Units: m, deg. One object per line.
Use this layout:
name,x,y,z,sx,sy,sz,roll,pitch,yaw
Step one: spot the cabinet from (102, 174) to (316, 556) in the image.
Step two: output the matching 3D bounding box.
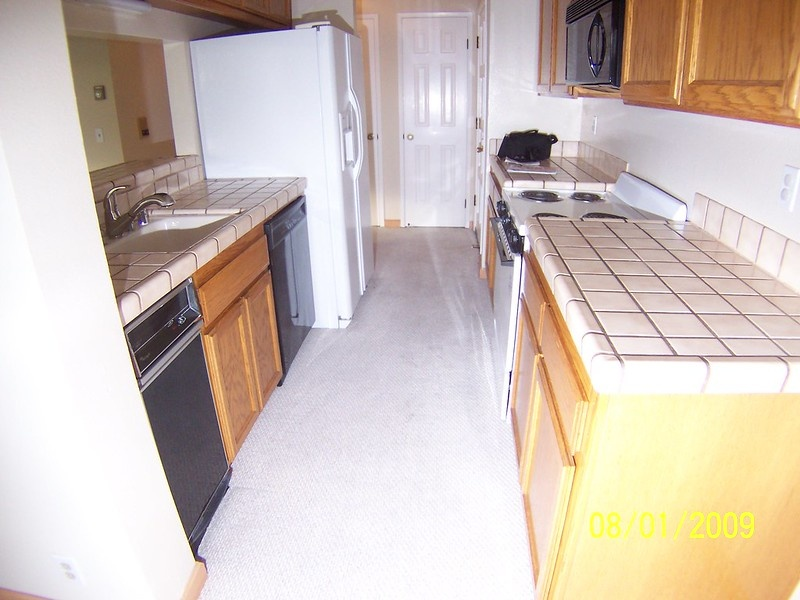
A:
cabinet,-0.768,0.276,2.263,0.495,0.795,1.392,-1,24,-4

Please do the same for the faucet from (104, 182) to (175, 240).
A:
faucet,-1.086,-0.372,2.352,0.308,0.209,0.073,-4,26,3

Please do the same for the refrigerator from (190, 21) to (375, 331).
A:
refrigerator,-0.757,-1.367,4.627,1.377,2.799,1.475,2,22,8

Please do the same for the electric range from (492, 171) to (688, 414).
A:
electric range,0.956,-0.055,3.280,0.744,0.988,1.478,6,-5,8

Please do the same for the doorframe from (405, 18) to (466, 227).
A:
doorframe,0.352,-1.730,5.577,0.709,1.979,0.196,7,20,22
